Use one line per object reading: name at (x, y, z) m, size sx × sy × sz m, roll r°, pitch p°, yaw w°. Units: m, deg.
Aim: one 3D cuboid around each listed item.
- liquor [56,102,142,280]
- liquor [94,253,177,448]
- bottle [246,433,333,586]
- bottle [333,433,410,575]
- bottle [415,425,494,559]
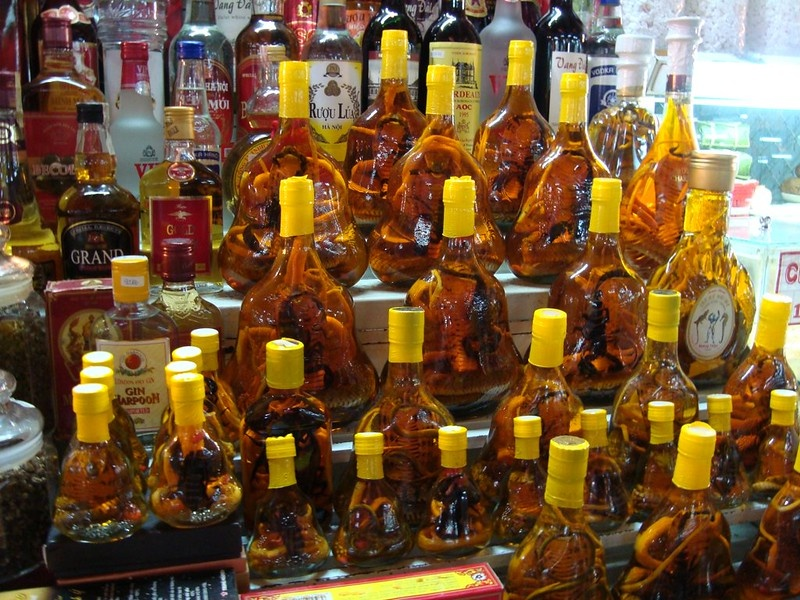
liquor at (-0.395, -0.127, 0.952) m, size 0.096 × 0.249 × 0.084 m, roll -4°, pitch 22°, yaw -24°
liquor at (-0.314, 0.060, 0.869) m, size 0.091 × 0.229 × 0.052 m, roll -1°, pitch 21°, yaw -13°
bottle at (-0.124, 0.226, 0.791) m, size 0.094 × 0.149 × 0.083 m, roll -4°, pitch 0°, yaw 23°
bottle at (-0.031, 0.225, 0.802) m, size 0.096 × 0.142 × 0.070 m, roll 0°, pitch -1°, yaw -20°
bottle at (0.062, 0.210, 0.802) m, size 0.079 × 0.153 × 0.051 m, roll -8°, pitch 11°, yaw -35°
